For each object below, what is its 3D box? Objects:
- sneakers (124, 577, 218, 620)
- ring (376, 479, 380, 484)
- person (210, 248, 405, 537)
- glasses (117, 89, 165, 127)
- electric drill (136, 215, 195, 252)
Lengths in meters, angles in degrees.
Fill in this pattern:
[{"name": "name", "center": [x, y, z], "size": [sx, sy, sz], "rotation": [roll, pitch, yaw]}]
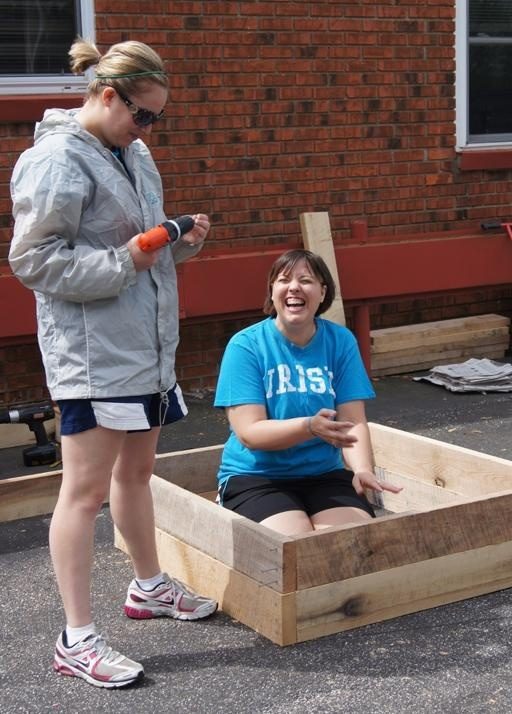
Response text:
[{"name": "sneakers", "center": [-0.283, 0.791, 2.260], "size": [0.423, 0.132, 0.152], "rotation": [-1, 5, 7]}, {"name": "ring", "center": [0.394, 0.402, 2.208], "size": [0.013, 0.014, 0.004], "rotation": [-6, -20, 19]}, {"name": "person", "center": [0.110, 0.086, 2.377], "size": [0.617, 0.966, 0.730], "rotation": [-3, 3, 5]}, {"name": "glasses", "center": [-0.292, -0.610, 1.695], "size": [0.028, 0.084, 0.082], "rotation": [-50, -11, 10]}, {"name": "electric drill", "center": [-0.227, -0.322, 1.793], "size": [0.056, 0.075, 0.227], "rotation": [3, 23, 26]}]
